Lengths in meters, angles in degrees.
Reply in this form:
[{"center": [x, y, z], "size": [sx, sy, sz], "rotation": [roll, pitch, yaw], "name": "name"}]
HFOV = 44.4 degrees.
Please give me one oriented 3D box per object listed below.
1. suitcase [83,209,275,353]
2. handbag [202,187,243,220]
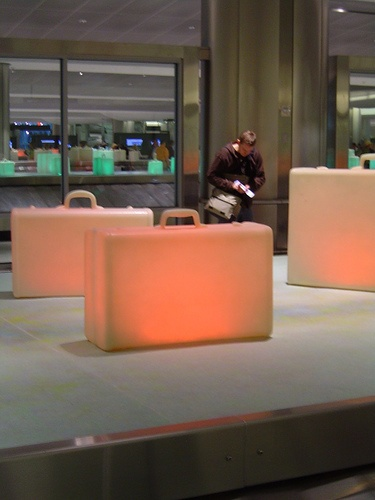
[{"center": [-0.058, 0.264, 3.291], "size": [1.176, 0.793, 0.363], "rotation": [-3, 10, -19], "name": "suitcase"}, {"center": [0.375, -0.564, 5.504], "size": [0.410, 0.268, 0.215], "rotation": [23, 0, -17], "name": "handbag"}]
